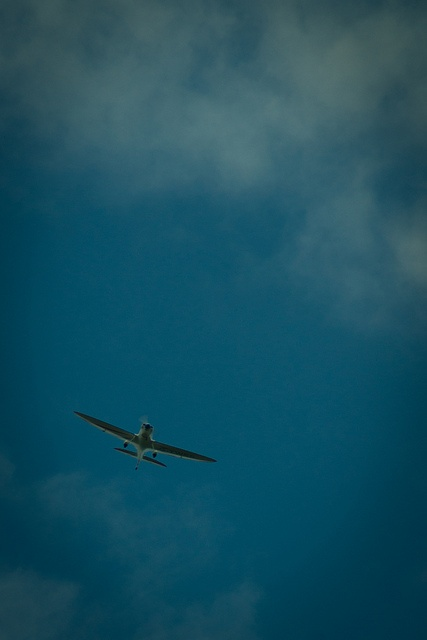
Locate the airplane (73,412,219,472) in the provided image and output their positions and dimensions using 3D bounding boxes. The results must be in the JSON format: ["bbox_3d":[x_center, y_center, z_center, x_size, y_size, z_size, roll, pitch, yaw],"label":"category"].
[{"bbox_3d":[-5.338,9.349,56.401,8.450,3.736,2.163,7,-37,-21],"label":"airplane"}]
